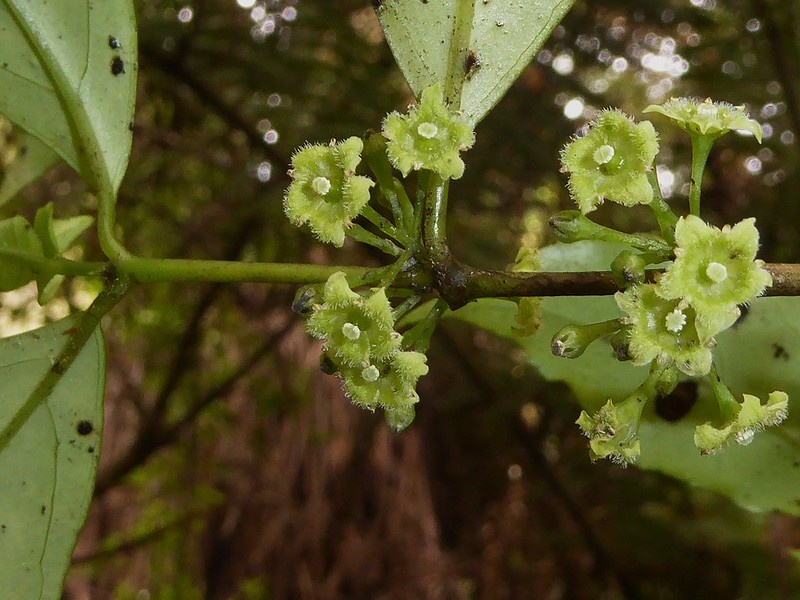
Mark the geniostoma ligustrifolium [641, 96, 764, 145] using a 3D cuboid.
[{"bbox_3d":[0.706,-0.453,2.549,0.272,0.237,0.085,2,-56,-11],"label":"geniostoma ligustrifolium"}]

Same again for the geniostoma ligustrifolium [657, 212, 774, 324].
[{"bbox_3d":[0.736,-0.080,2.403,0.287,0.176,0.184,-2,-54,-8],"label":"geniostoma ligustrifolium"}]

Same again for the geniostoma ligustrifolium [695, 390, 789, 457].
[{"bbox_3d":[0.806,0.290,2.534,0.216,0.105,0.158,-33,-47,26],"label":"geniostoma ligustrifolium"}]

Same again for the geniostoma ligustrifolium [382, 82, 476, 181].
[{"bbox_3d":[0.069,-0.398,2.500,0.193,0.171,0.199,22,-61,-23],"label":"geniostoma ligustrifolium"}]

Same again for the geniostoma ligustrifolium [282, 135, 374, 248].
[{"bbox_3d":[-0.169,-0.278,2.494,0.166,0.192,0.237,19,-60,-21],"label":"geniostoma ligustrifolium"}]

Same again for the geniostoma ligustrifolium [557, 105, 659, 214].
[{"bbox_3d":[0.503,-0.338,2.505,0.226,0.217,0.178,-14,-54,1],"label":"geniostoma ligustrifolium"}]
